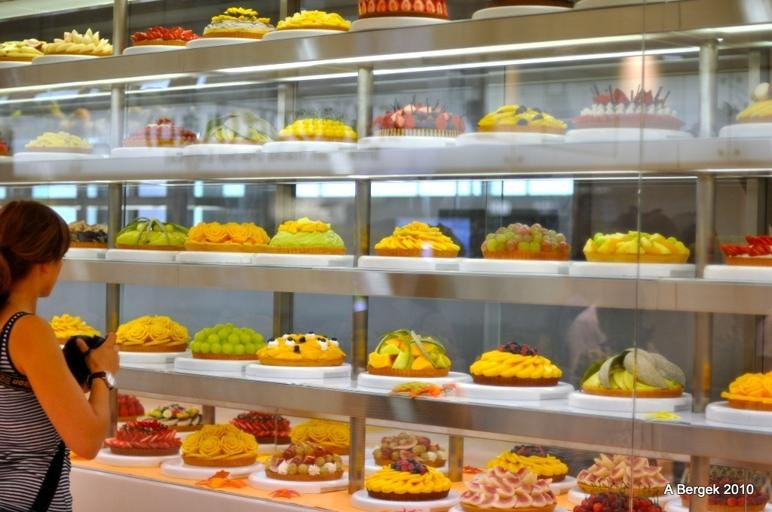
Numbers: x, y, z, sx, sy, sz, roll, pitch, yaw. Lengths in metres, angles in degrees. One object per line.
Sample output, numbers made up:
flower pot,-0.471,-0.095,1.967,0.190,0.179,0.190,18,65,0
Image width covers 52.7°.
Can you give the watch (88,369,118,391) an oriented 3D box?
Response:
watch,-0.959,0.405,2.611,0.093,0.061,0.100,-2,-7,14
